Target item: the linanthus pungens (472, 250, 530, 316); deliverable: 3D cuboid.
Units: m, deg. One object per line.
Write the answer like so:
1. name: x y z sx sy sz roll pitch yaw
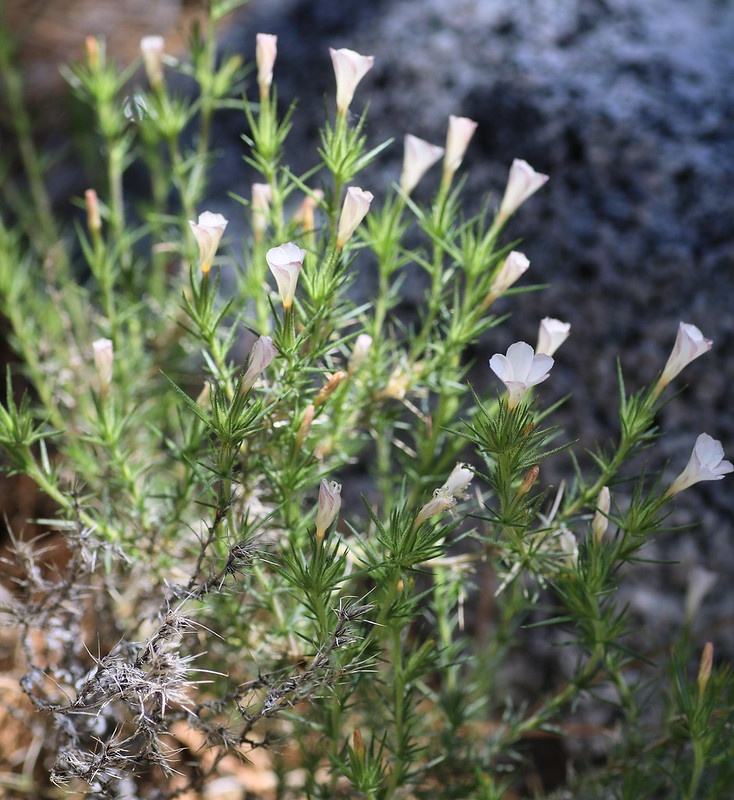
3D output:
1. linanthus pungens: 0.293 -0.255 2.313 0.060 0.180 0.052 9 49 -31

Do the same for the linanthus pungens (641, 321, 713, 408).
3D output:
1. linanthus pungens: 0.627 -0.078 2.134 0.066 0.183 0.217 24 53 13
